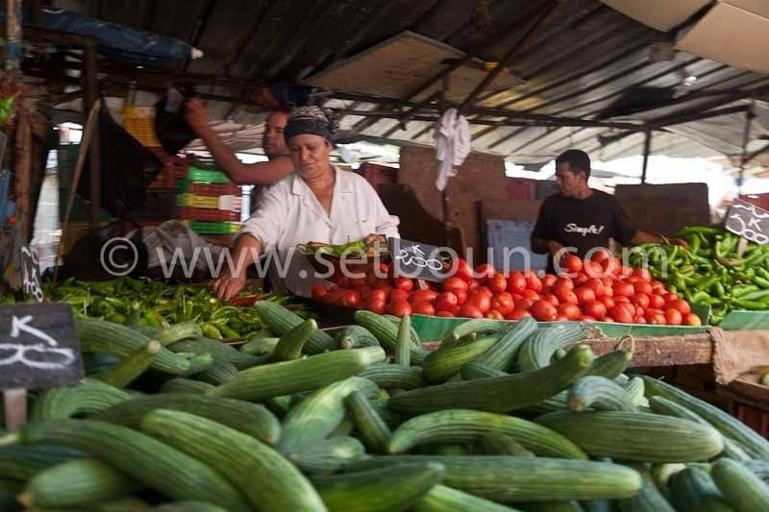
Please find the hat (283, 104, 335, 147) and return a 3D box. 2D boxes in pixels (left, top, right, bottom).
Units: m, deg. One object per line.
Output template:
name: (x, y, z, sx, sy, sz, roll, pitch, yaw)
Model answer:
hat: (-0.691, -1.347, 5.759, 0.599, 0.257, 0.460, 6, -6, 23)
